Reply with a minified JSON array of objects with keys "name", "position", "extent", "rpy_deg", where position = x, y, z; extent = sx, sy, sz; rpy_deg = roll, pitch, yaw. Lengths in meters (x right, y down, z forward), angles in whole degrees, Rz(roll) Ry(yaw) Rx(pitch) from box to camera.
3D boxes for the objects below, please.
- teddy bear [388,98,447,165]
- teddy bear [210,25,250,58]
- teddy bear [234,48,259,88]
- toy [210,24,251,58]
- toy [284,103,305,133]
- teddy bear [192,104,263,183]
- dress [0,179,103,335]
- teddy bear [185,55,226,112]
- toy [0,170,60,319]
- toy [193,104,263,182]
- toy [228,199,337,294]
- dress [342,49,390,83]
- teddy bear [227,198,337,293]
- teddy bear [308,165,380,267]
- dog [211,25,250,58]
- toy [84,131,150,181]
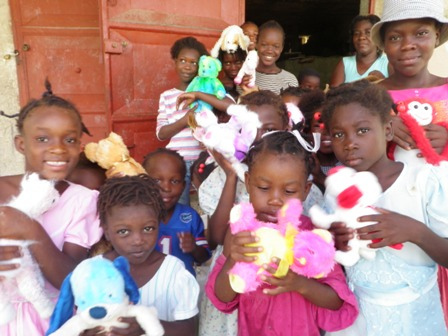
[{"name":"teddy bear","position":[1.453,-0.238,3.515],"extent":[0.416,0.491,0.217],"rpy_deg":[-3,-17,-14]},{"name":"teddy bear","position":[0.040,-1.476,5.153],"extent":[0.448,0.221,0.529],"rpy_deg":[8,48,11]},{"name":"teddy bear","position":[0.238,-1.093,5.013],"extent":[0.269,0.393,0.295],"rpy_deg":[-3,17,1]},{"name":"toy","position":[0.063,-1.456,5.133],"extent":[0.419,0.213,0.519],"rpy_deg":[19,51,21]},{"name":"toy","position":[0.594,-0.440,3.819],"extent":[0.216,0.245,0.098],"rpy_deg":[-10,-6,1]},{"name":"teddy bear","position":[-0.027,-0.149,3.641],"extent":[0.610,0.217,0.606],"rpy_deg":[36,60,15]},{"name":"dress","position":[-1.188,0.636,3.206],"extent":[0.644,0.929,0.276],"rpy_deg":[-10,-10,32]},{"name":"teddy bear","position":[-0.204,-0.896,4.784],"extent":[0.441,0.550,0.313],"rpy_deg":[14,28,13]},{"name":"toy","position":[-1.315,0.519,3.154],"extent":[0.348,0.925,0.536],"rpy_deg":[-5,17,-4]},{"name":"toy","position":[-0.002,-0.182,3.632],"extent":[0.595,0.549,0.202],"rpy_deg":[-19,-10,-22]},{"name":"toy","position":[0.349,0.456,2.801],"extent":[0.662,0.491,0.334],"rpy_deg":[-4,17,-3]},{"name":"dress","position":[1.720,-1.252,5.563],"extent":[0.672,0.366,0.507],"rpy_deg":[10,20,37]},{"name":"teddy bear","position":[0.397,0.395,2.935],"extent":[0.556,0.222,0.587],"rpy_deg":[6,9,-42]},{"name":"teddy bear","position":[0.820,0.309,3.312],"extent":[0.630,0.807,0.654],"rpy_deg":[1,3,-5]},{"name":"dog","position":[0.077,-1.413,5.016],"extent":[0.361,0.394,0.166],"rpy_deg":[-1,-10,13]},{"name":"toy","position":[-0.883,-0.098,3.692],"extent":[0.505,0.326,0.297],"rpy_deg":[13,23,43]}]
